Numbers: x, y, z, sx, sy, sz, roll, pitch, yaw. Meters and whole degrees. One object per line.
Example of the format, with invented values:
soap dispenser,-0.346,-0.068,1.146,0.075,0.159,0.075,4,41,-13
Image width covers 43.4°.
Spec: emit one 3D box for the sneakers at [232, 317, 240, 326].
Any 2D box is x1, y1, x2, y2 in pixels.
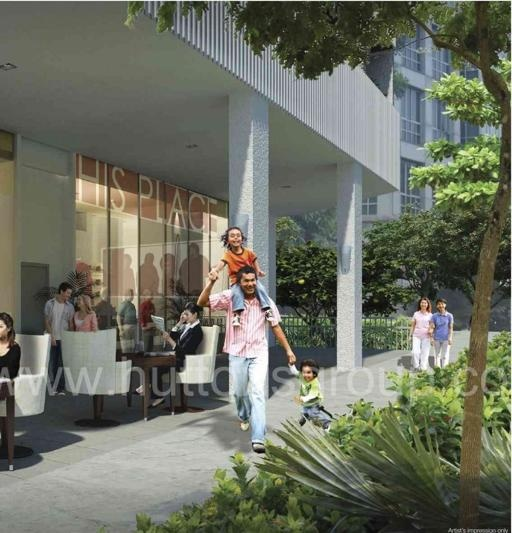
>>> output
sneakers,-0.172,0.485,5.690,0.053,0.068,0.153,0,-9,-3
